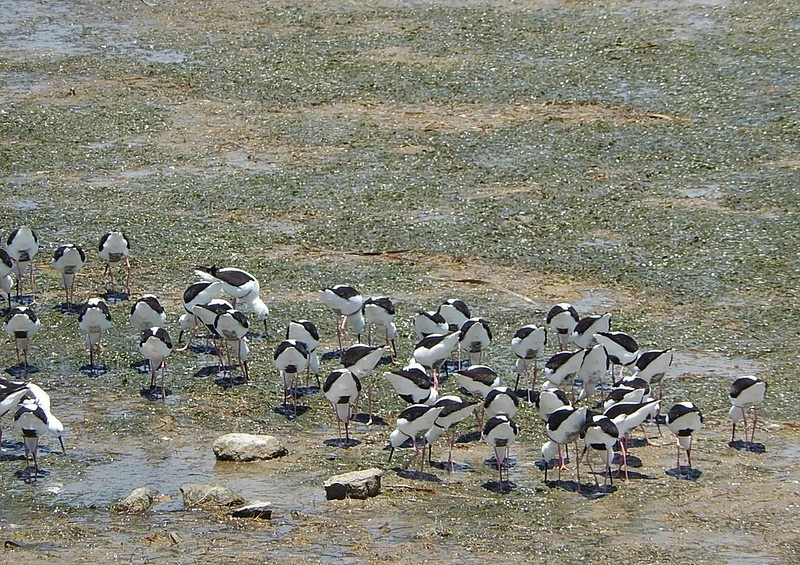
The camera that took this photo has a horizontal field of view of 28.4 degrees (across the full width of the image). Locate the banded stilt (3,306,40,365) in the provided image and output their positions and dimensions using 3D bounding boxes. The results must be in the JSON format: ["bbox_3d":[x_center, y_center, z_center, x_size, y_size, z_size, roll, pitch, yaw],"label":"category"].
[{"bbox_3d":[-7.269,0.980,30.302,0.633,1.327,0.968,-9,29,-13],"label":"banded stilt"}]

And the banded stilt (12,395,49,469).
[{"bbox_3d":[-6.444,2.685,27.705,0.576,1.147,0.953,-12,29,-17],"label":"banded stilt"}]

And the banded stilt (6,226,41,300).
[{"bbox_3d":[-7.809,-0.483,32.591,0.621,1.631,1.016,-9,30,-12],"label":"banded stilt"}]
